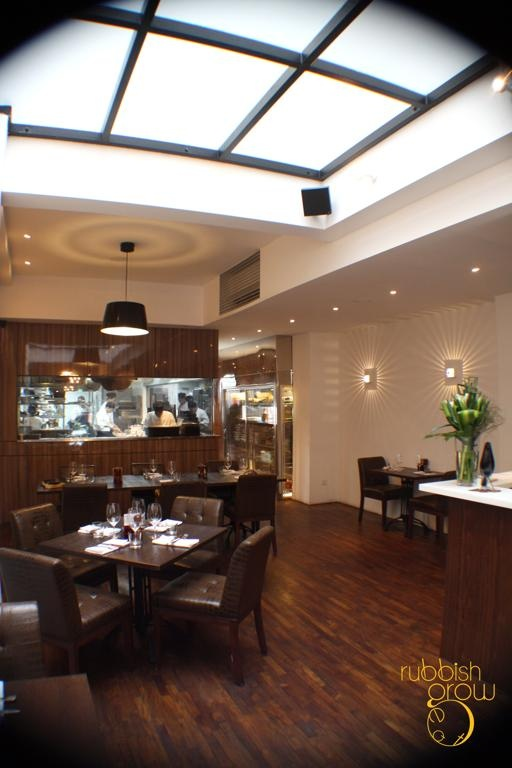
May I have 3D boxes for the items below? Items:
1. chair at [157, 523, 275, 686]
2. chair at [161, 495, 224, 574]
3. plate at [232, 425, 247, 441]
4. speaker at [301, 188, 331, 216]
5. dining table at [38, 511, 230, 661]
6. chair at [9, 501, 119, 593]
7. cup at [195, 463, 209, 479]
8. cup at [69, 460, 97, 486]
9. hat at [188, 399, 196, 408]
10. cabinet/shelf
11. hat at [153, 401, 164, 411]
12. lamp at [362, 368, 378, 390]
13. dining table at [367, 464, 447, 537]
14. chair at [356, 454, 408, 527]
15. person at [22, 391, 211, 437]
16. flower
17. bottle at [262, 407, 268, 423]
[{"bbox_3d":[-0.208,1.258,3.319,0.763,1.015,0.687,1,-5,16],"label":"chair"},{"bbox_3d":[-0.451,1.121,3.998,0.446,0.687,0.513,-2,-10,25],"label":"chair"},{"bbox_3d":[-0.302,0.867,9.352,0.143,0.304,0.303,2,0,-23],"label":"plate"},{"bbox_3d":[0.417,-1.287,3.684,0.185,0.201,0.188,-3,13,2],"label":"speaker"},{"bbox_3d":[-0.696,1.130,3.286,0.790,0.697,0.807,2,4,32],"label":"dining table"},{"bbox_3d":[-1.359,1.295,3.698,0.636,0.908,0.650,-6,-3,-21],"label":"chair"},{"bbox_3d":[-0.613,0.954,5.780,0.155,0.168,0.142,1,-5,0],"label":"cup"},{"bbox_3d":[-2.098,1.055,6.267,0.300,0.311,0.395,6,-9,-42],"label":"cup"},{"bbox_3d":[-0.968,0.287,7.901,0.087,0.126,0.122,1,10,3],"label":"hat"},{"bbox_3d":[-0.041,0.871,9.123,1.106,1.791,0.529,2,6,22],"label":"cabinet/shelf"},{"bbox_3d":[-1.434,0.311,7.588,0.099,0.131,0.135,0,-6,-10],"label":"hat"},{"bbox_3d":[1.621,-0.085,7.605,0.112,0.304,0.362,1,-2,-16],"label":"lamp"},{"bbox_3d":[1.862,1.397,6.467,0.653,0.847,1.330,0,1,-31],"label":"dining table"},{"bbox_3d":[1.655,1.405,6.866,0.589,0.820,0.579,0,3,34],"label":"chair"},{"bbox_3d":[-1.991,0.397,7.436,2.494,0.666,0.284,1,-2,-18],"label":"person"},{"bbox_3d":[1.279,0.313,3.231,0.421,0.607,0.377,1,-1,-42],"label":"flower"},{"bbox_3d":[0.135,0.510,8.647,0.016,0.248,0.228,2,-2,-35],"label":"bottle"}]
